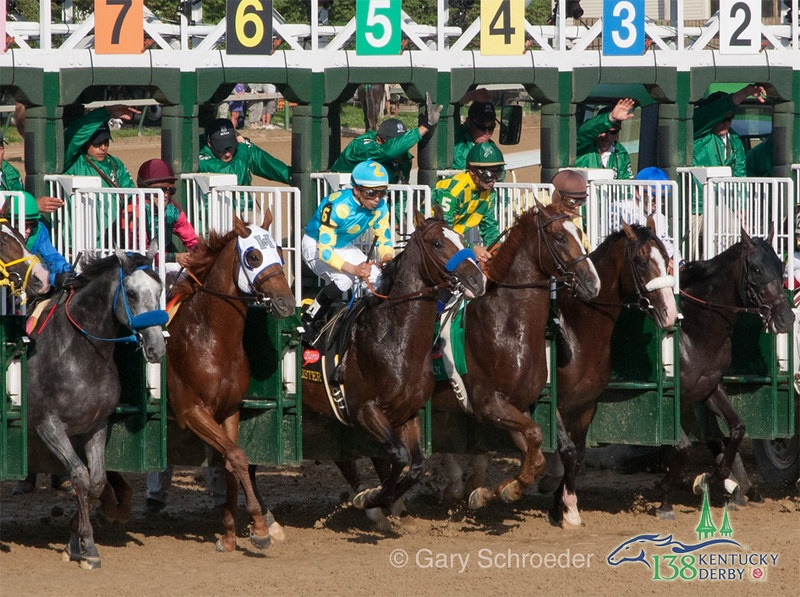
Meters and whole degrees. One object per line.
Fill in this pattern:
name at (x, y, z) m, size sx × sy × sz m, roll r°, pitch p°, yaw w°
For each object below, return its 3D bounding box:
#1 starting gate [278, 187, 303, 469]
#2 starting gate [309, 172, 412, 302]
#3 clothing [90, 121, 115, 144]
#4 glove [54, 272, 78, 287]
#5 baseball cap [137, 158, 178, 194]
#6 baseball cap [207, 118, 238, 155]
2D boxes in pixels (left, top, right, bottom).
starting gate at (-0.788, 0.121, 12.253) m, size 0.052 × 2.616 × 0.523 m, roll -1°, pitch -31°, yaw -7°
starting gate at (-0.387, -0.534, 12.049) m, size 0.559 × 1.027 × 0.522 m, roll -11°, pitch 18°, yaw -33°
clothing at (-2.472, -1.381, 13.556) m, size 0.220 × 0.175 × 0.212 m, roll -7°, pitch 9°, yaw -39°
glove at (-2.341, -0.129, 11.425) m, size 0.095 × 0.048 × 0.143 m, roll 9°, pitch 48°, yaw 36°
baseball cap at (-1.875, -0.964, 12.750) m, size 0.231 × 0.335 × 0.286 m, roll -6°, pitch 7°, yaw -43°
baseball cap at (-1.563, -1.433, 14.327) m, size 0.216 × 0.338 × 0.188 m, roll -6°, pitch -33°, yaw -15°
